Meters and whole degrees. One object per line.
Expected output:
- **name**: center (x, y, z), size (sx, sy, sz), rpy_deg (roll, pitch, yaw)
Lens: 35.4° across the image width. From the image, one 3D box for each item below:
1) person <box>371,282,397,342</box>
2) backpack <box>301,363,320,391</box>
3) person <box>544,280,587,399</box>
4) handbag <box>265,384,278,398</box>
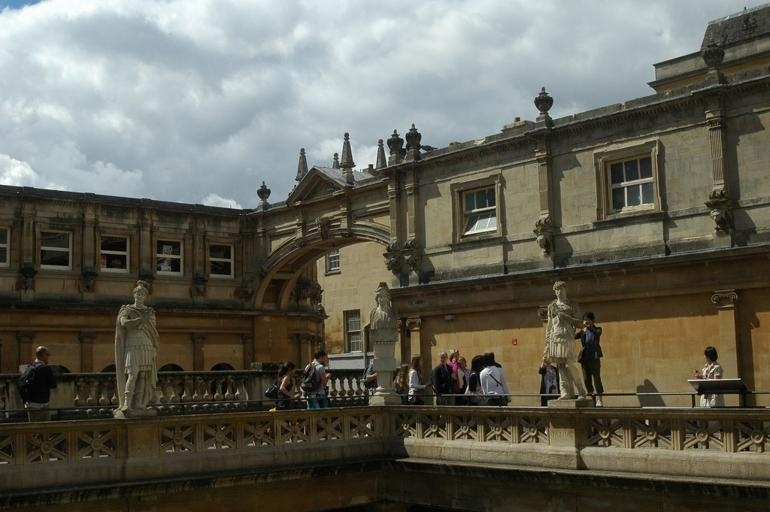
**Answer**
- **person**: center (-0.093, 1.422, 30.698), size (0.663, 1.439, 0.740), rpy_deg (-3, 7, -6)
- **backpack**: center (-1.915, 3.106, 30.536), size (0.374, 0.684, 0.517), rpy_deg (-7, 8, -33)
- **person**: center (4.172, 1.957, 28.042), size (0.919, 2.697, 0.639), rpy_deg (0, 7, 21)
- **handbag**: center (-2.858, 3.453, 30.352), size (0.290, 0.279, 0.428), rpy_deg (-3, 6, -6)
